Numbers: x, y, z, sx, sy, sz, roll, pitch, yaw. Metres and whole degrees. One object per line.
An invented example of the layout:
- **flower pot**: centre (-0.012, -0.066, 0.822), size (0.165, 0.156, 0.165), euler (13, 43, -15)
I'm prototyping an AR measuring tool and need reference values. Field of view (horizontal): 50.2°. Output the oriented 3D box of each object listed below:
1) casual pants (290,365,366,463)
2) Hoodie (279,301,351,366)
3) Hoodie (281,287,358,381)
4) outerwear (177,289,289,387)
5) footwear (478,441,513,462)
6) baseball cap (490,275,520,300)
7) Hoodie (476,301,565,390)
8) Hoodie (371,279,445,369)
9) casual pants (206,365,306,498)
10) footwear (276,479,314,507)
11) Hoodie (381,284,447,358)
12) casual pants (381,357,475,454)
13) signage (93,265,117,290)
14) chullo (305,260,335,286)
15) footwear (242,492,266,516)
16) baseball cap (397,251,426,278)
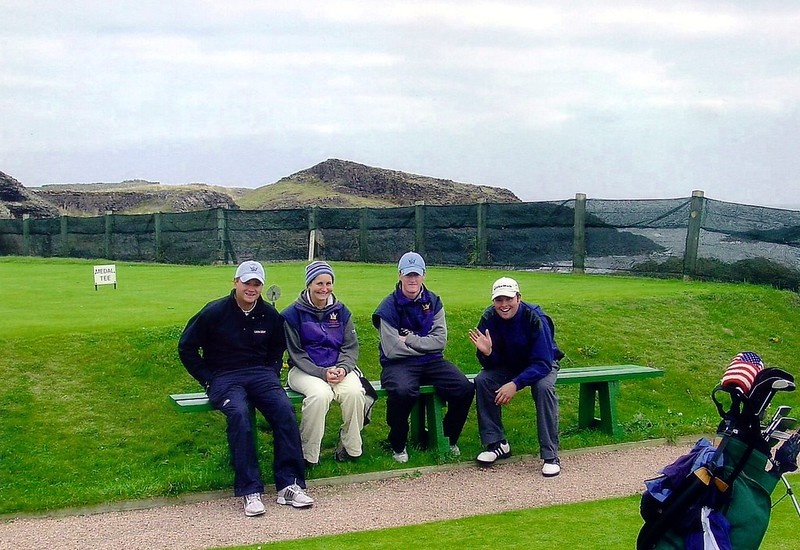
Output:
- **casual pants**: centre (-0.767, 1.568, 9.828), size (0.715, 1.074, 0.894), euler (0, -9, -23)
- **Hoodie**: centre (-0.970, 0.691, 9.831), size (0.802, 0.697, 0.420), euler (1, -6, -29)
- **Hoodie**: centre (-0.846, 0.650, 9.878), size (0.926, 0.956, 0.890), euler (-3, 2, -21)
- **outerwear**: centre (-1.879, 0.773, 9.795), size (1.237, 0.915, 0.567), euler (5, 3, -30)
- **footwear**: centre (1.117, 2.079, 10.033), size (0.224, 0.241, 0.499), euler (3, 4, 40)
- **baseball cap**: centre (1.242, 0.164, 10.046), size (0.284, 0.244, 0.313), euler (1, 3, 10)
- **Hoodie**: centre (1.398, 0.829, 10.235), size (1.078, 0.853, 1.157), euler (2, 9, 16)
- **Hoodie**: centre (0.093, 0.611, 10.326), size (0.943, 1.002, 0.631), euler (-1, 5, -19)
- **casual pants**: centre (-1.533, 1.661, 9.217), size (0.780, 1.219, 0.900), euler (-2, 4, -31)
- **footwear**: centre (-1.097, 2.306, 8.920), size (0.391, 0.171, 0.186), euler (0, -8, 35)
- **Hoodie**: centre (0.163, 0.585, 10.204), size (1.097, 0.978, 0.602), euler (0, -7, -14)
- **casual pants**: centre (0.328, 1.375, 10.108), size (0.974, 0.491, 2.028), euler (-1, 6, -9)
- **signage**: centre (-5.607, 0.066, 16.347), size (0.540, 0.510, 0.073), euler (-3, 10, -32)
- **chullo**: centre (-0.955, -0.019, 9.899), size (0.355, 0.260, 0.276), euler (-7, -7, 42)
- **footwear**: centre (-1.479, 2.351, 8.770), size (0.223, 0.193, 0.241), euler (0, 3, -9)
- **baseball cap**: centre (0.142, -0.126, 10.269), size (0.285, 0.268, 0.475), euler (0, 3, -3)
